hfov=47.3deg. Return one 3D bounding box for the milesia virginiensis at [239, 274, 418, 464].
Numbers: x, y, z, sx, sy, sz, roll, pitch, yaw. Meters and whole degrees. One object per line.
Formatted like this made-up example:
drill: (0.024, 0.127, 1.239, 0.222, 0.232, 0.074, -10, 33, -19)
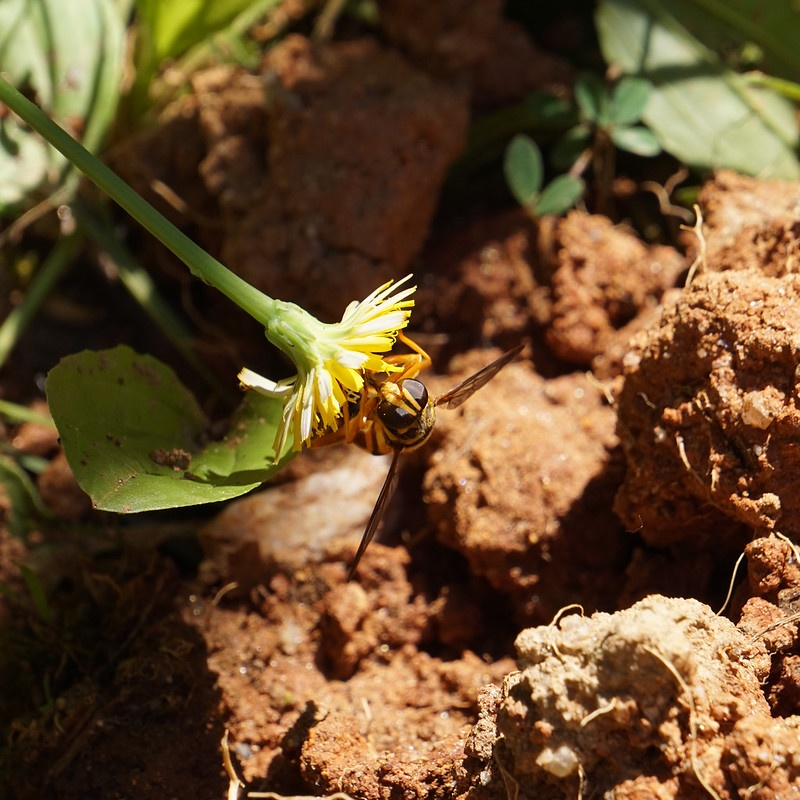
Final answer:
milesia virginiensis: (-0.122, -0.048, 1.524, 0.194, 0.280, 0.301, 29, 52, 20)
